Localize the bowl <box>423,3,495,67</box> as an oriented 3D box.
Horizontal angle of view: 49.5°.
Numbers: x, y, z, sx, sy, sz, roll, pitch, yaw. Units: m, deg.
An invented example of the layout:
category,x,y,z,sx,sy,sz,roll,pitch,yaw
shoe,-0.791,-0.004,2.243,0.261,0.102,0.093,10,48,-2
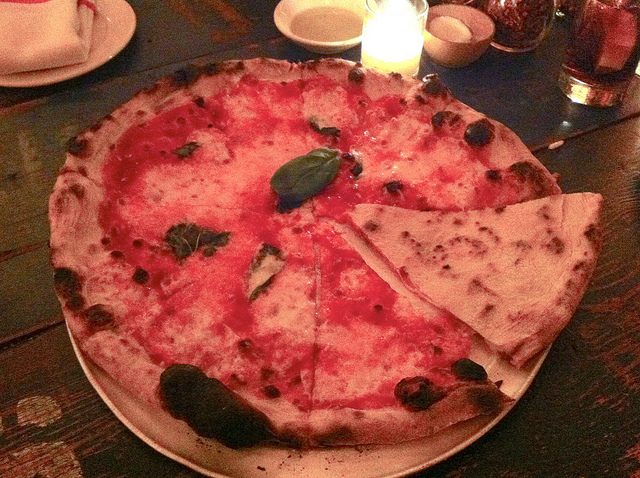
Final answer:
category,x,y,z,sx,sy,sz,roll,pitch,yaw
bowl,0.436,-0.651,2.195,0.210,0.121,0.200,0,77,0
